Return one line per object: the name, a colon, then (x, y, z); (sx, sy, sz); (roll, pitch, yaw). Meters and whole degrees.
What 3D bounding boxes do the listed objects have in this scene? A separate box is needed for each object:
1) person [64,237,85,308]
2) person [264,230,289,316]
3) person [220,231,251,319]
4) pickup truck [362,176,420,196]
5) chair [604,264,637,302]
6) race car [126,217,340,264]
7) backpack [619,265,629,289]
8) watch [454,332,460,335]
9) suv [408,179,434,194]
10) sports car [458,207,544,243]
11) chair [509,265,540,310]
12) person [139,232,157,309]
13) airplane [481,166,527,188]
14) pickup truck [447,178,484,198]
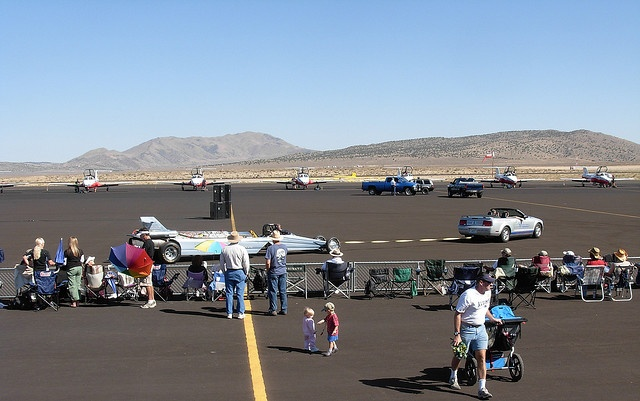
person: (-8.050, 2.331, 27.809); (0.767, 2.094, 0.626); (0, -1, -34)
person: (-1.436, 2.303, 27.426); (0.668, 2.670, 0.982); (-3, 2, -4)
person: (-2.745, 2.329, 27.234); (1.055, 2.524, 0.939); (2, -2, -30)
pickup truck: (6.535, -1.319, 81.042); (4.525, 1.239, 2.098); (-1, 5, 7)
chair: (10.118, 2.757, 28.876); (0.973, 1.361, 0.990); (-3, -2, 35)
race car: (-3.332, 1.599, 35.547); (8.222, 1.488, 3.018); (0, 3, -20)
backpack: (10.143, 2.552, 28.517); (0.438, 0.716, 0.209); (-4, 2, -31)
watch: (3.632, 3.553, 22.657); (0.113, 0.031, 0.109); (-3, 7, -40)
suv: (9.848, -1.343, 82.274); (2.337, 0.845, 1.321); (3, 2, -2)
sports car: (8.845, 1.150, 41.500); (2.248, 1.202, 4.540); (5, 6, 43)
chair: (6.636, 2.787, 28.018); (0.977, 1.525, 0.979); (-4, -2, 7)
person: (-5.688, 2.293, 28.257); (0.850, 2.262, 0.637); (-1, -2, -8)
airplane: (37.862, -5.782, 175.627); (4.765, 2.366, 165.750); (-2, 2, 12)
pickup truck: (12.388, -1.021, 73.022); (1.722, 0.979, 2.860); (-1, 6, -12)
